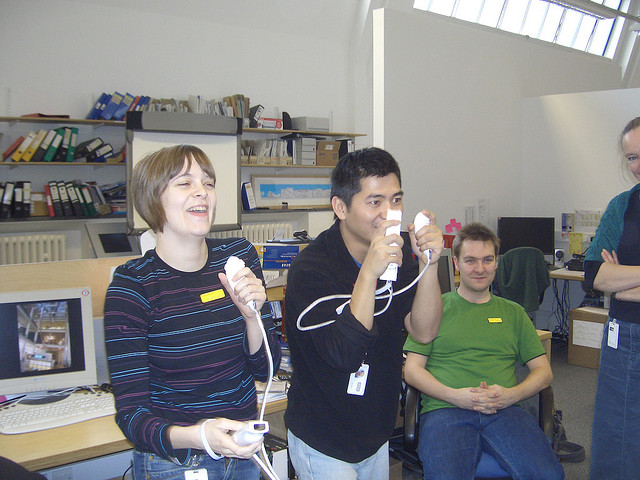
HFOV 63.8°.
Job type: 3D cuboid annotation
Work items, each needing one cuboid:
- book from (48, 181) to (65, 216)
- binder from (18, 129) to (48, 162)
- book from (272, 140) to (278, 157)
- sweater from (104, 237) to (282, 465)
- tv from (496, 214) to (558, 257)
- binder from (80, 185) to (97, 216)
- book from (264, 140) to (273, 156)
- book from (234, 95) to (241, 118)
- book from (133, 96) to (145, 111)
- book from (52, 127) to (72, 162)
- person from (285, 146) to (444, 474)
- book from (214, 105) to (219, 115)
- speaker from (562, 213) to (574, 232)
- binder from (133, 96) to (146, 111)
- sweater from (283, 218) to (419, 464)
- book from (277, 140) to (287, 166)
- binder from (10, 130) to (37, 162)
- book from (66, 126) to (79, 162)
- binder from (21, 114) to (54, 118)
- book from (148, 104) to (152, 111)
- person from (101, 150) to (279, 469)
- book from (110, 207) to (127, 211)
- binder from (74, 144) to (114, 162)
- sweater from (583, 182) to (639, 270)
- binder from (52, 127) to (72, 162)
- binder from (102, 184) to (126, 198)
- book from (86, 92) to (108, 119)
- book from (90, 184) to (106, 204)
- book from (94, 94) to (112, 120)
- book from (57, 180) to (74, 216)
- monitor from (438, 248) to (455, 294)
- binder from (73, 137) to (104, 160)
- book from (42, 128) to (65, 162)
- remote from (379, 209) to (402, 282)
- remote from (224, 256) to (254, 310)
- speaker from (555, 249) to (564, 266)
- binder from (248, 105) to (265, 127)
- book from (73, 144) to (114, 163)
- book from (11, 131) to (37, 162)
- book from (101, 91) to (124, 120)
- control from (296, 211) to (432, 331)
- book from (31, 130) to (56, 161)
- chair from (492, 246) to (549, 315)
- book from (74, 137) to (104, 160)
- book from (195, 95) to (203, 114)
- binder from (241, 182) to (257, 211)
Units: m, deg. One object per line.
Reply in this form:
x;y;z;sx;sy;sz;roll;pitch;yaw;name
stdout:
-2.924;-0.473;5.751;0.066;0.303;0.290;-6;-3;-7;book
-3.138;-1.043;5.639;0.239;0.340;0.081;33;-6;-9;binder
-0.604;-1.253;6.904;0.036;0.154;0.161;9;15;4;book
-0.442;0.369;1.828;0.572;0.714;0.300;-9;11;-41;sweater
2.621;-0.049;6.547;0.673;0.522;0.197;0;9;17;tv
-2.659;-0.471;5.887;0.060;0.257;0.249;-15;24;-2;binder
-0.689;-1.240;6.877;0.051;0.170;0.161;11;-23;-27;book
-1.083;-1.768;6.691;0.052;0.273;0.115;-5;9;-26;book
-2.160;-1.631;6.117;0.052;0.224;0.217;23;-7;-19;book
-2.862;-1.066;5.758;0.075;0.327;0.321;16;6;-10;book
0.173;0.299;2.007;0.626;1.306;0.467;-2;8;-6;person
-1.315;-1.664;6.511;0.056;0.087;0.039;-3;8;-15;book
3.283;-0.239;6.797;0.142;0.216;0.276;3;10;25;speaker
-2.149;-1.636;6.119;0.056;0.238;0.223;20;-12;-29;binder
0.129;0.382;1.987;0.554;0.910;0.418;-2;8;-5;sweater
-0.514;-1.194;6.935;0.062;0.283;0.272;6;2;6;book
-3.245;-1.016;5.593;0.075;0.298;0.284;37;-30;-7;binder
-2.792;-1.093;5.795;0.071;0.313;0.300;8;-1;-15;book
-3.124;-1.377;5.643;0.259;0.037;0.101;-6;10;-29;binder
-2.026;-1.601;6.132;0.032;0.060;0.023;-4;9;-19;book
-0.433;0.268;1.769;0.556;1.153;0.494;-1;8;3;person
-2.366;-0.372;5.992;0.127;0.033;0.135;-1;1;6;book
-2.577;-1.020;5.946;0.250;0.061;0.245;-35;10;-22;binder
1.489;-0.096;2.627;0.219;0.394;0.258;3;9;28;sweater
-2.858;-1.076;5.767;0.075;0.327;0.321;16;6;-10;binder
-2.452;-0.577;6.058;0.219;0.070;0.218;-20;6;-31;binder
-2.575;-1.553;5.906;0.248;0.299;0.172;-3;8;-13;book
-2.565;-0.549;5.990;0.042;0.190;0.183;-16;11;-7;book
-2.471;-1.533;5.916;0.051;0.222;0.216;32;-11;-6;book
-2.873;-0.475;5.780;0.066;0.300;0.287;-15;18;-17;book
0.876;0.200;3.571;0.094;0.269;0.410;1;9;12;monitor
-2.663;-1.069;5.937;0.229;0.064;0.238;-1;37;46;binder
-2.941;-1.059;5.710;0.069;0.305;0.294;28;1;-6;book
0.276;0.082;1.926;0.073;0.073;0.300;13;-20;14;remote
-0.284;0.151;1.765;0.077;0.194;0.045;-12;-9;-5;remote
3.048;0.205;6.543;0.108;0.195;0.202;3;9;24;speaker
-0.854;-1.656;6.825;0.181;0.283;0.186;-2;8;-8;binder
-2.579;-1.010;5.944;0.264;0.063;0.256;-37;12;-26;book
-3.231;-1.028;5.588;0.071;0.274;0.256;38;-29;-18;book
-2.402;-1.553;5.931;0.060;0.266;0.256;25;-7;3;book
0.143;0.156;1.944;0.841;0.091;0.249;-27;-9;-9;control
-3.034;-1.040;5.729;0.230;0.325;0.076;31;-12;7;book
2.443;0.391;5.862;0.476;0.633;0.492;0;12;13;chair
-2.680;-1.062;5.927;0.232;0.064;0.243;2;39;43;book
-1.510;-1.698;6.403;0.058;0.190;0.145;4;8;-9;book
-0.831;-0.499;5.932;0.130;0.351;0.358;-15;28;-11;binder
